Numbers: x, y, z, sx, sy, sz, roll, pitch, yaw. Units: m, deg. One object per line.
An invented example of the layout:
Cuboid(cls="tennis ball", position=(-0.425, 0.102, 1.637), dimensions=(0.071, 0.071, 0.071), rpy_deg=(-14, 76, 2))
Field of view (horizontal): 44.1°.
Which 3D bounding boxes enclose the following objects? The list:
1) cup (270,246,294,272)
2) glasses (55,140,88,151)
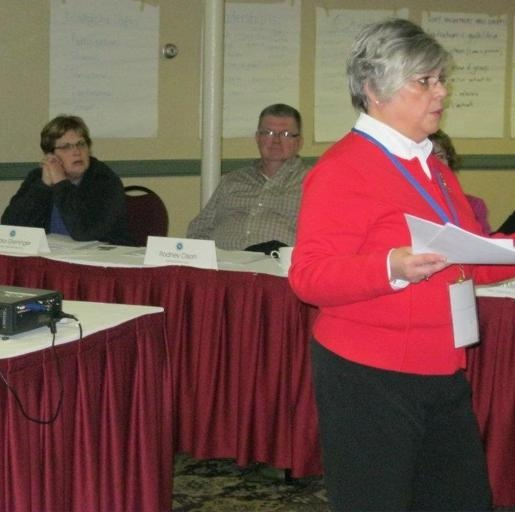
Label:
Cuboid(cls="cup", position=(0.075, 0.002, 2.071), dimensions=(0.071, 0.064, 0.097), rpy_deg=(-1, 0, -11))
Cuboid(cls="glasses", position=(-0.824, -0.492, 2.815), dimensions=(0.131, 0.048, 0.051), rpy_deg=(-3, 7, -22))
